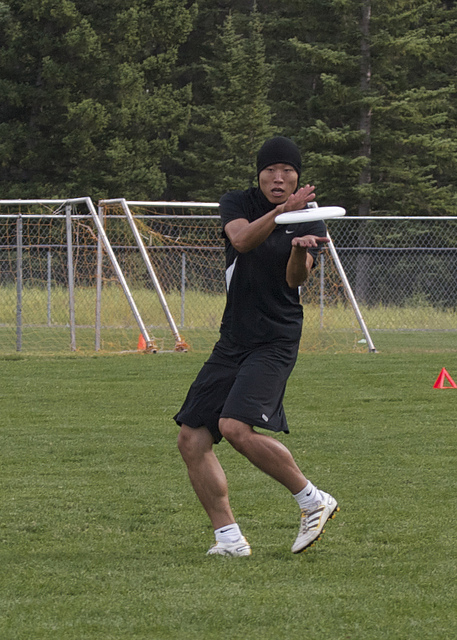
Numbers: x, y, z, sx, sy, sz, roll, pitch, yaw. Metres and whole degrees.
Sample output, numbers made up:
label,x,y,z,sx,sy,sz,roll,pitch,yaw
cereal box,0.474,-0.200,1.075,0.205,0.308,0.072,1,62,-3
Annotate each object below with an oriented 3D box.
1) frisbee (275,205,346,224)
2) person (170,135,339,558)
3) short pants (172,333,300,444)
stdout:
label,x,y,z,sx,sy,sz,roll,pitch,yaw
frisbee,0.339,-0.419,3.650,0.225,0.064,0.503,3,7,24
person,0.107,0.122,3.822,0.691,1.777,0.569,-1,8,2
short pants,0.041,0.304,3.850,0.380,0.443,0.365,6,10,39
